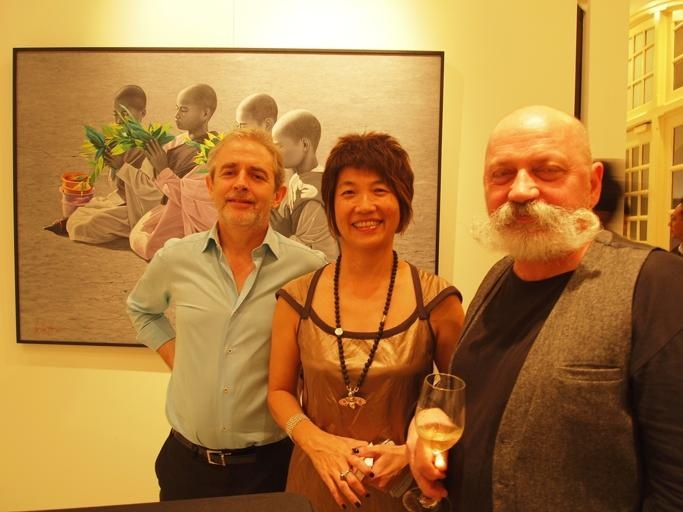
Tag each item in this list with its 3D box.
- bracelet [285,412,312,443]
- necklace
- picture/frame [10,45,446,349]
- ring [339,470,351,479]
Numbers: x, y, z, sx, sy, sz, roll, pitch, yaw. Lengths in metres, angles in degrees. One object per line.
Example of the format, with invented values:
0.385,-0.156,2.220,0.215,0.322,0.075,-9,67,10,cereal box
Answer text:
-0.196,0.735,2.379,0.097,0.122,0.047,6,15,-8,bracelet
0.111,0.322,2.470,0.298,0.675,0.262,0,5,3,necklace
-0.557,-0.408,3.045,1.848,1.261,0.026,1,3,3,picture/frame
0.016,0.887,2.218,0.026,0.034,0.012,5,-5,3,ring
